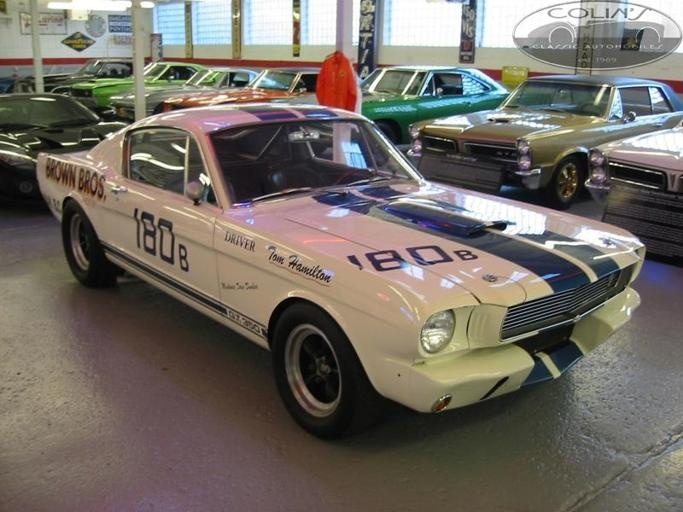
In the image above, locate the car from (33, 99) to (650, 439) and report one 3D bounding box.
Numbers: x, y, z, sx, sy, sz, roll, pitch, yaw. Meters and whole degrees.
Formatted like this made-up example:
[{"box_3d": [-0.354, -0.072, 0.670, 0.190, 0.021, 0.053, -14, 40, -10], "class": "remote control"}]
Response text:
[{"box_3d": [-0.547, -0.340, 3.510, 4.430, 1.267, 2.160, 19, 26, 39], "class": "car"}]
